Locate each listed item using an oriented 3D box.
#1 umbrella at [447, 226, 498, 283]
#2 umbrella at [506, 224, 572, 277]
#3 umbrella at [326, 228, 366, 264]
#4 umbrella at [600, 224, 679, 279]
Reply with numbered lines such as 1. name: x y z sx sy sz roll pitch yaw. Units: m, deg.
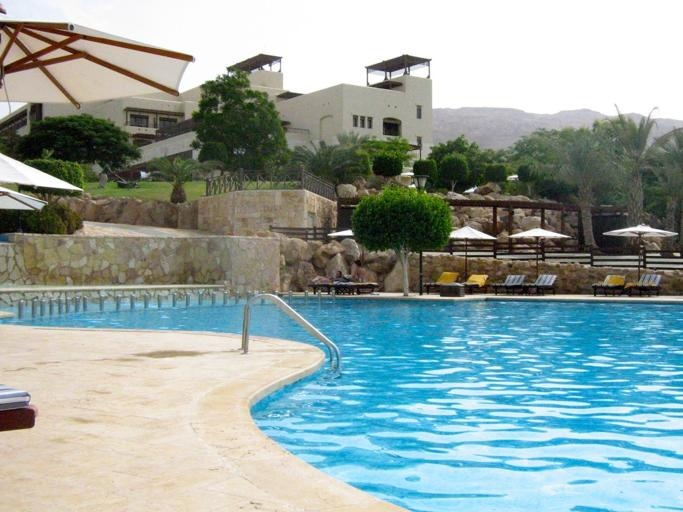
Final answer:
1. umbrella: 5.348 0.005 31.316 2.527 2.082 2.476 2 2 -22
2. umbrella: 7.947 -0.053 30.433 2.545 2.059 2.459 2 4 0
3. umbrella: 0.191 -0.351 29.931 1.249 1.418 0.560 -1 -3 0
4. umbrella: 13.344 -0.211 34.137 2.632 2.195 2.639 3 1 11
